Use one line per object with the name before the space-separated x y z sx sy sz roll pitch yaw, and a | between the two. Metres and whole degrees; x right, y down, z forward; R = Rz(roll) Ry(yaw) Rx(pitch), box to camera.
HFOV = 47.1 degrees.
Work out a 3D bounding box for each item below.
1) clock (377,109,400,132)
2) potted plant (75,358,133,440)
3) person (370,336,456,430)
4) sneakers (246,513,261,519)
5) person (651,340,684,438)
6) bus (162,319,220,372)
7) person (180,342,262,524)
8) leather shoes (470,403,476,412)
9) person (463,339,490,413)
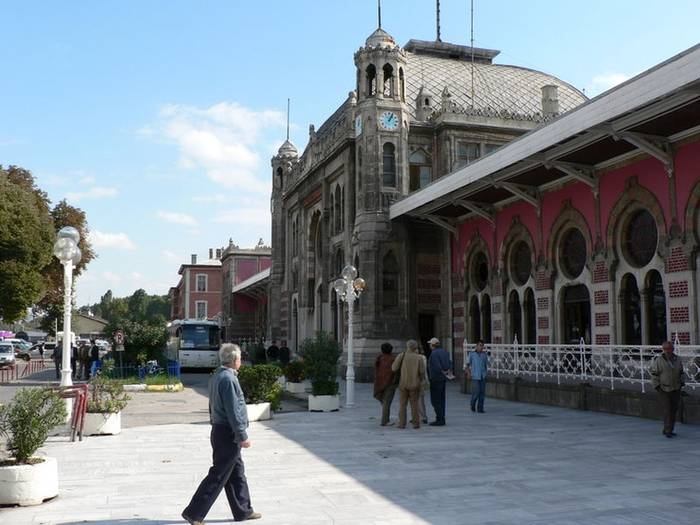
clock | 1.674 -5.939 33.529 0.862 0.862 0.073 3 -8 -10
potted plant | -5.079 3.075 17.733 1.242 1.906 1.249 2 -9 -9
person | 1.287 2.807 18.573 0.974 1.960 1.204 9 -11 -42
sneakers | -1.356 3.583 11.355 0.189 0.084 0.072 -4 5 -18
person | 6.662 2.623 16.767 0.626 1.964 0.489 9 -11 -42
bus | -8.879 4.766 45.076 1.741 2.041 6.324 2 -10 -16
person | -1.750 2.435 11.536 0.970 2.543 0.696 1 -8 1
leather shoes | 3.276 3.798 21.063 0.090 0.201 0.283 -3 -40 5
person | 3.421 3.038 21.537 0.559 1.888 1.380 0 -9 9
